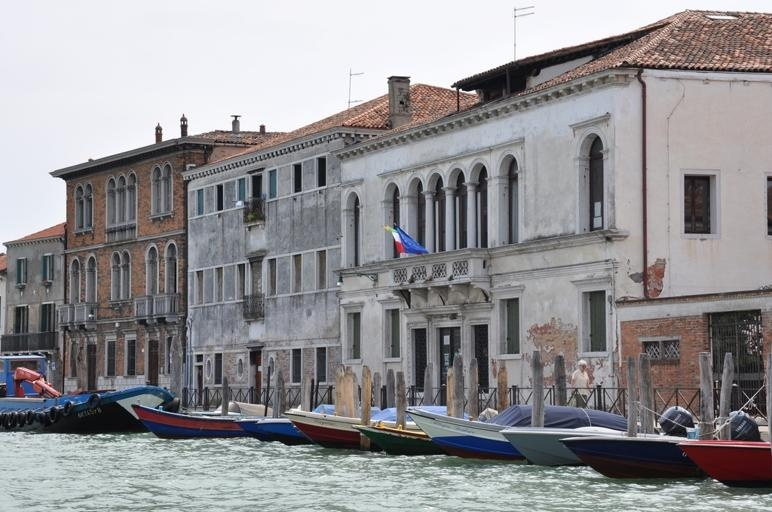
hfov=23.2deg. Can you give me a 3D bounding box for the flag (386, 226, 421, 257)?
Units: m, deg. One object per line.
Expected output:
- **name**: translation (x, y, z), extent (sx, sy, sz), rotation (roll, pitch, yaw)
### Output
- **flag**: translation (0.642, -0.496, 74.487), extent (0.891, 0.520, 1.026), rotation (-7, 30, -29)

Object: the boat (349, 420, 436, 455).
- **boat**: translation (0.311, 6.340, 64.786), extent (2.604, 0.849, 1.107), rotation (4, -17, 19)

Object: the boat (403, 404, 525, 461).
- **boat**: translation (2.899, 5.796, 62.599), extent (4.416, 1.565, 1.523), rotation (9, -41, 28)

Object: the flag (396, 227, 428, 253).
- **flag**: translation (0.874, -0.550, 73.851), extent (1.302, 1.381, 1.839), rotation (-1, -11, 2)

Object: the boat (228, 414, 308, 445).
- **boat**: translation (-4.221, 6.402, 70.082), extent (2.568, 0.780, 1.017), rotation (0, -11, 42)

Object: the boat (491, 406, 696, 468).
- **boat**: translation (6.904, 5.590, 60.946), extent (7.012, 2.289, 2.290), rotation (-1, -11, 9)
